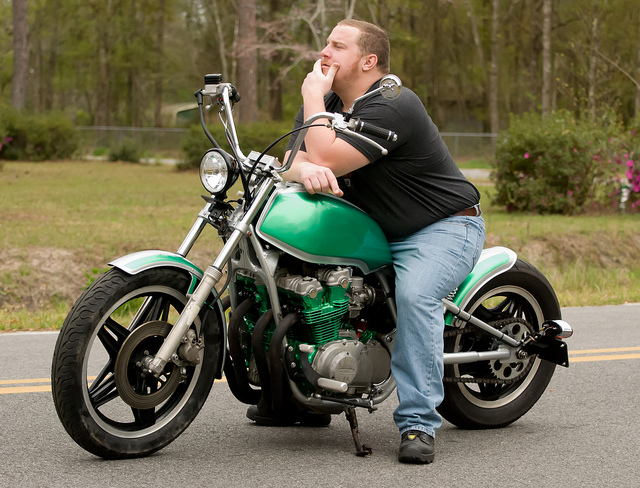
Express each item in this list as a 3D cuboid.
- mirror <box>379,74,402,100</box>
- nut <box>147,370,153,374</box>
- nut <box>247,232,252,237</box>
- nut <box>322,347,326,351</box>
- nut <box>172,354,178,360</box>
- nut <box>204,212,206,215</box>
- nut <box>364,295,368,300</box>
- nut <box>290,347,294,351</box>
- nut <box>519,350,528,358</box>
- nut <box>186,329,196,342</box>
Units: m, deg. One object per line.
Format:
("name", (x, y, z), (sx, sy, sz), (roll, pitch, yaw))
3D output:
("mirror", (0.456, -0.986, 4.837), (0.137, 0.157, 0.275), (2, 11, 5))
("nut", (-1.054, 0.787, 4.783), (0.038, 0.026, 0.011), (9, 14, 37))
("nut", (-0.449, -0.066, 4.957), (0.040, 0.030, 0.009), (8, 13, 33))
("nut", (0.031, 0.686, 5.071), (0.014, 0.021, 0.016), (-1, 11, -11))
("nut", (-0.923, 0.715, 4.928), (0.021, 0.036, 0.039), (5, 12, 24))
("nut", (-0.736, -0.196, 4.923), (0.020, 0.014, 0.014), (2, -5, 4))
("nut", (0.321, 0.362, 5.239), (0.019, 0.027, 0.010), (-2, 1, -24))
("nut", (-0.180, 0.680, 5.050), (0.012, 0.029, 0.048), (4, 11, 17))
("nut", (1.507, 0.803, 5.645), (0.052, 0.053, 0.018), (9, -5, -33))
("nut", (-0.829, 0.579, 4.956), (0.048, 0.058, 0.065), (-10, 36, -34))
